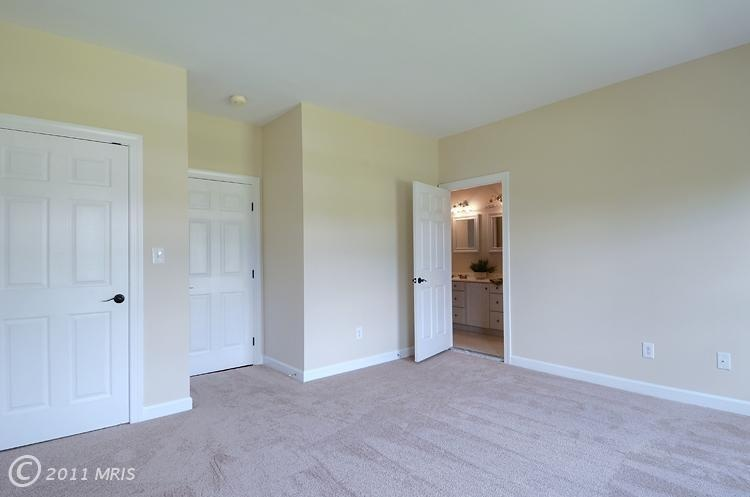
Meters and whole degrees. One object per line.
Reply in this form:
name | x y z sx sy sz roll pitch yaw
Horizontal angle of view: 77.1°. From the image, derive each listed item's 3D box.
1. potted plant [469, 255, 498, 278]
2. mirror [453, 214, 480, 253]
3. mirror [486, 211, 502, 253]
potted plant | 1.844 0.317 8.077 0.374 0.324 0.536 -6 14 -25
mirror | 1.621 -0.251 8.399 0.552 0.654 0.035 -1 0 43
mirror | 2.069 -0.271 8.054 0.047 0.623 0.359 3 4 36
